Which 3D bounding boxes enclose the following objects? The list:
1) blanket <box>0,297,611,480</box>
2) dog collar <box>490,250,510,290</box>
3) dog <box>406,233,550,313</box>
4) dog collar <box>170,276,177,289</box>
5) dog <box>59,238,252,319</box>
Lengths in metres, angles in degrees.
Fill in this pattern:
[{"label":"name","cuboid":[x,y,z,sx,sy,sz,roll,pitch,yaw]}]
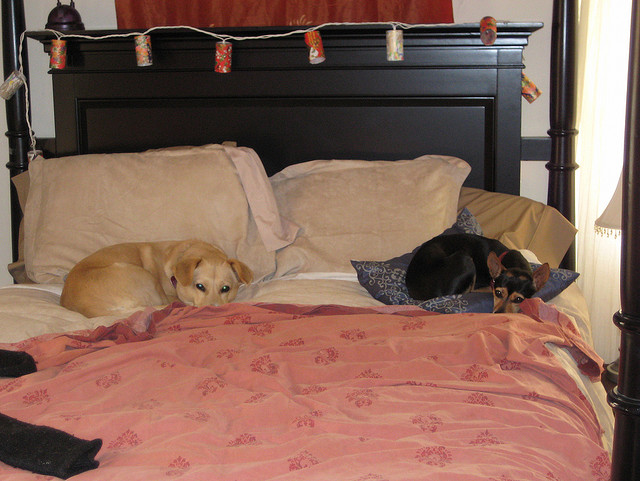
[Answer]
[{"label":"blanket","cuboid":[-0.004,0.472,1.882,1.896,0.201,0.958,2,19,3]},{"label":"dog collar","cuboid":[0.794,0.130,2.644,0.115,0.164,0.053,1,-15,45]},{"label":"dog","cuboid":[0.668,0.138,2.609,0.341,0.215,0.523,-14,22,-18]},{"label":"dog collar","cuboid":[-0.691,0.202,2.824,0.017,0.048,0.033,-6,-9,-36]},{"label":"dog","cuboid":[-0.770,0.160,2.715,0.569,0.223,0.421,3,23,-25]}]
